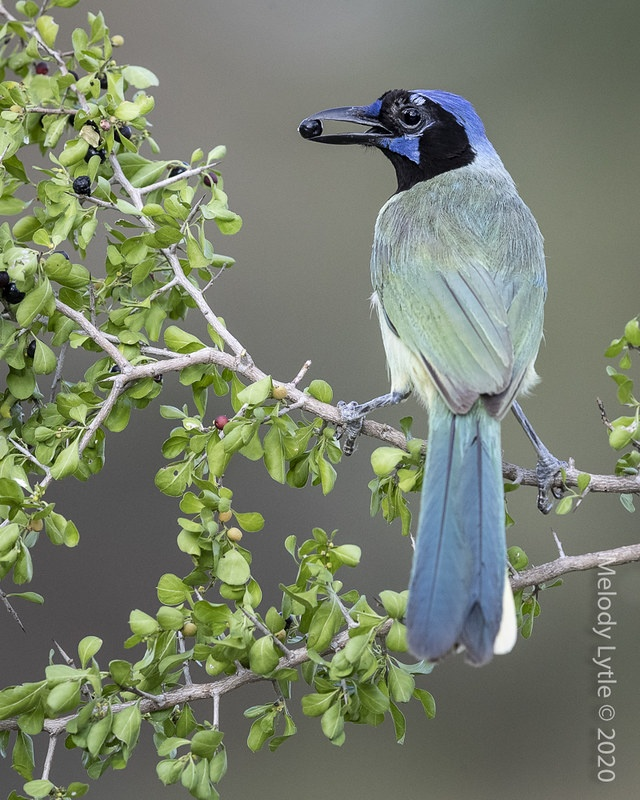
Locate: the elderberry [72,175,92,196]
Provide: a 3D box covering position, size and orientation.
[{"bbox_3d":[-0.681,-0.608,3.242,0.051,0.086,0.050,1,-21,-11],"label":"elderberry"}]

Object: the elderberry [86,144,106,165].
[{"bbox_3d":[-0.644,-0.704,3.289,0.057,0.056,0.052,-2,-3,11],"label":"elderberry"}]
